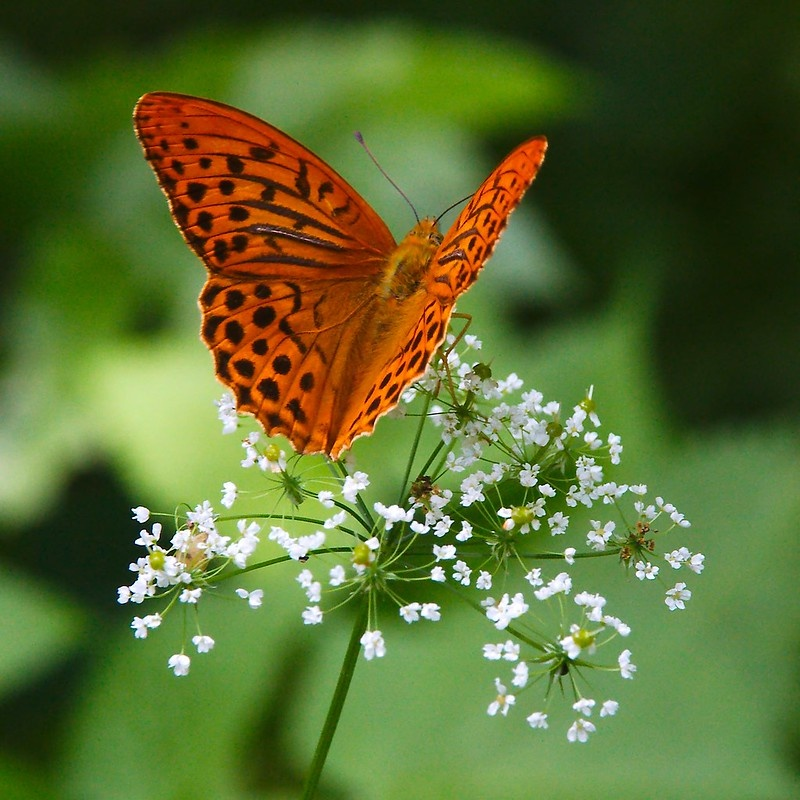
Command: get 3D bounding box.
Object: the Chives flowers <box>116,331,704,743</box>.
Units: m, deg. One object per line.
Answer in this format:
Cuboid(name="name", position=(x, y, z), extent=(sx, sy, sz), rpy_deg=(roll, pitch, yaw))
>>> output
Cuboid(name="Chives flowers", position=(0.005, 0.533, 4.542), extent=(2.405, 1.318, 1.406), rpy_deg=(4, 15, -8))
